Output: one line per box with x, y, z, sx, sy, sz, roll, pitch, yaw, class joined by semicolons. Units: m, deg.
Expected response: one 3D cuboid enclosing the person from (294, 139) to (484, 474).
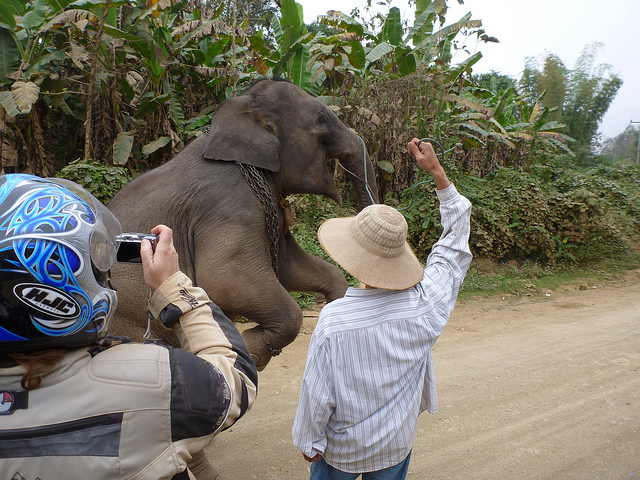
0.300;0.333;2.507;0.900;1.633;0.433;-7;14;-38;person
